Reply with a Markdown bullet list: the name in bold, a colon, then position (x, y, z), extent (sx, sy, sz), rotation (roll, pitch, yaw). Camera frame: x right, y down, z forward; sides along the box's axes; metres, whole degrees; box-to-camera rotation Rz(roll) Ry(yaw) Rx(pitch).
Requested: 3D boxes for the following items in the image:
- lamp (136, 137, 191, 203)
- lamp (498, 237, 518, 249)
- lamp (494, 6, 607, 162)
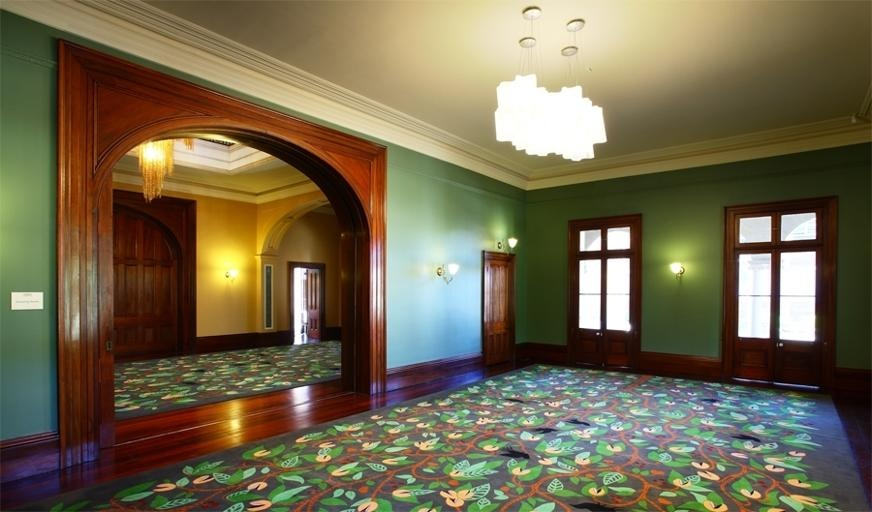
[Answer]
- **lamp**: position (-6.082, -2.177, 10.906), extent (0.630, 1.821, 0.557), rotation (5, 26, -22)
- **lamp**: position (1.808, -0.331, 12.874), extent (0.472, 0.295, 0.293), rotation (-5, -7, 38)
- **lamp**: position (1.784, -2.803, 7.840), extent (2.180, 2.336, 0.580), rotation (4, -10, -22)
